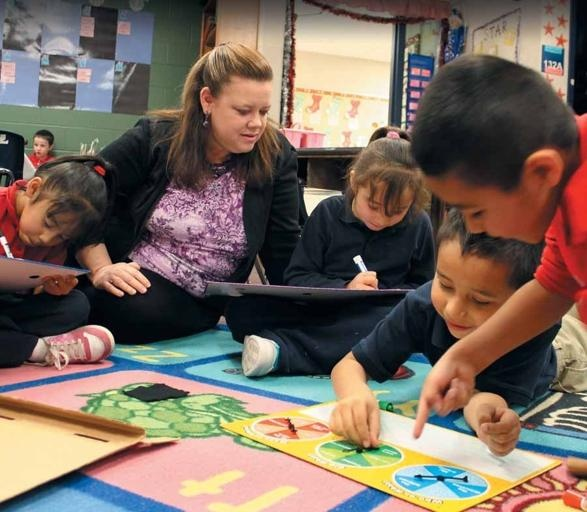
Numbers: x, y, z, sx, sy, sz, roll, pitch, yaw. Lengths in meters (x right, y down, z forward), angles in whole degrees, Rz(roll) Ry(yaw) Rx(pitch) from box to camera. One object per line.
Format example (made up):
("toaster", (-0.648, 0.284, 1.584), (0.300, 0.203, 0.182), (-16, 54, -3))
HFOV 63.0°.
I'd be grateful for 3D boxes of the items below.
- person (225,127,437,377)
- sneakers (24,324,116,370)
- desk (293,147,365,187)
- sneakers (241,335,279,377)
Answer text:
("person", (0.036, -0.017, 1.638), (0.687, 0.708, 0.758), (13, 1, 16))
("sneakers", (-0.574, 0.244, 1.270), (0.228, 0.069, 0.091), (-2, 20, 1))
("desk", (0.212, -0.497, 2.666), (0.380, 0.199, 0.220), (4, -1, 15))
("sneakers", (-0.108, 0.270, 1.280), (0.118, 0.088, 0.105), (7, 43, -18))
